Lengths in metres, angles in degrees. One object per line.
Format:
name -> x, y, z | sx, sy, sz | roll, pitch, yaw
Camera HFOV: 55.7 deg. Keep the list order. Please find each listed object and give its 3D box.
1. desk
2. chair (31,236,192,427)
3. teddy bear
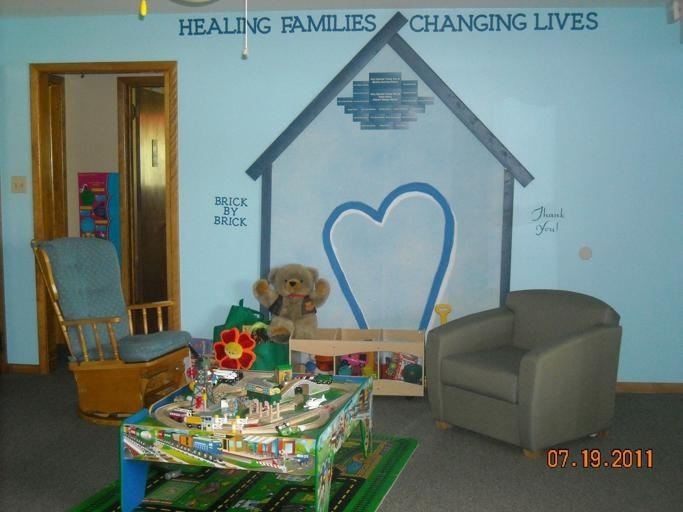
desk -> -0.525, 1.081, 3.988 | 1.249, 0.663, 1.103 | 4, 13, 16
chair -> -1.787, 0.524, 5.661 | 1.360, 2.059, 1.166 | 0, 1, 15
teddy bear -> -0.401, 0.403, 5.387 | 0.560, 0.679, 0.454 | 1, -4, 8
